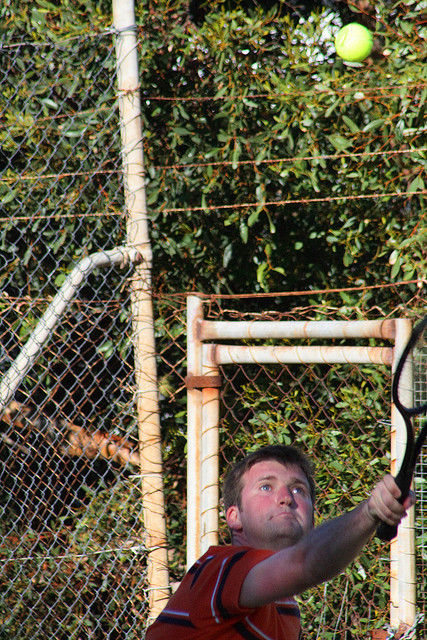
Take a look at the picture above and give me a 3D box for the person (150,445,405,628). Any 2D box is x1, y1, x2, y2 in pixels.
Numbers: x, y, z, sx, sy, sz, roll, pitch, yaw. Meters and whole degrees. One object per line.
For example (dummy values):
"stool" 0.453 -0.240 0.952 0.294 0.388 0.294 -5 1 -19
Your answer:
"person" 0.202 0.646 3.836 0.412 1.150 0.627 12 71 -20

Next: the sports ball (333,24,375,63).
"sports ball" 0.591 -1.170 5.524 0.148 0.179 0.153 -9 49 11
